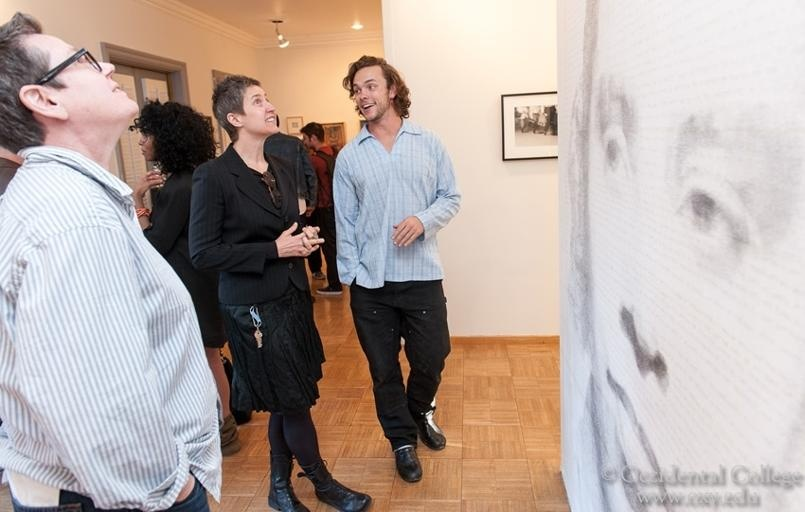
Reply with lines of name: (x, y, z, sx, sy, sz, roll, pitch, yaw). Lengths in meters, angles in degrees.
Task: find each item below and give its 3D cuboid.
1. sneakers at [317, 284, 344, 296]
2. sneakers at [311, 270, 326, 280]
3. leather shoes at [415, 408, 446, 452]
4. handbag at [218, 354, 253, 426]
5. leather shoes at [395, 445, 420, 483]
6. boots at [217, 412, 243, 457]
sneakers: (-0.853, 0.391, 6.130, 0.329, 0.127, 0.121, 3, 3, 11)
sneakers: (-1.093, 0.257, 6.930, 0.078, 0.089, 0.209, -2, -1, -29)
leather shoes: (0.187, 0.978, 2.984, 0.111, 0.153, 0.272, -8, 12, -26)
handbag: (-1.038, 0.801, 3.365, 0.211, 0.331, 0.191, 2, -13, -40)
leather shoes: (0.031, 1.067, 2.687, 0.088, 0.085, 0.203, -4, 2, -10)
boots: (-1.040, 1.040, 3.077, 0.106, 0.178, 0.179, 36, -33, -30)
